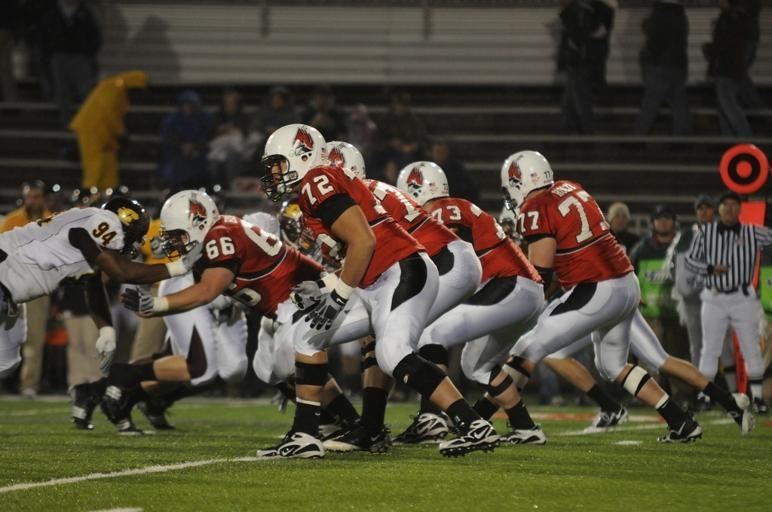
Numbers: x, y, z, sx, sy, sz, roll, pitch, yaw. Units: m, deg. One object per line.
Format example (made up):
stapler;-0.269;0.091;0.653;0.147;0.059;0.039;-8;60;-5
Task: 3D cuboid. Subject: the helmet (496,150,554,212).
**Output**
helmet;1.231;-0.739;12.809;0.584;0.561;0.455;-4;12;40

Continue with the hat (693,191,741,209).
hat;3.745;-0.645;15.068;0.387;0.197;0.249;-2;-2;34

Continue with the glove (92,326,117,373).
glove;-2.695;0.891;12.463;0.186;0.476;0.296;3;-2;17

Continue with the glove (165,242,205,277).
glove;-1.830;0.045;12.203;0.360;0.182;0.258;-29;4;-12

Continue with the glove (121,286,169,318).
glove;-2.157;0.421;11.824;0.320;0.155;0.309;18;-7;-30
